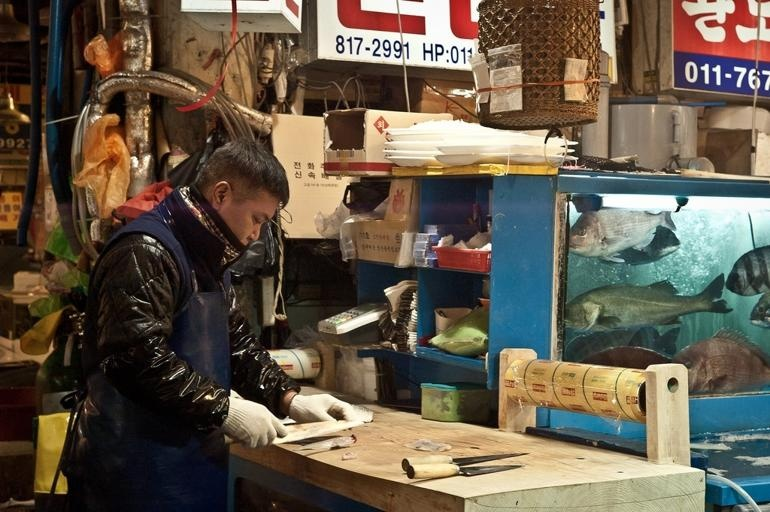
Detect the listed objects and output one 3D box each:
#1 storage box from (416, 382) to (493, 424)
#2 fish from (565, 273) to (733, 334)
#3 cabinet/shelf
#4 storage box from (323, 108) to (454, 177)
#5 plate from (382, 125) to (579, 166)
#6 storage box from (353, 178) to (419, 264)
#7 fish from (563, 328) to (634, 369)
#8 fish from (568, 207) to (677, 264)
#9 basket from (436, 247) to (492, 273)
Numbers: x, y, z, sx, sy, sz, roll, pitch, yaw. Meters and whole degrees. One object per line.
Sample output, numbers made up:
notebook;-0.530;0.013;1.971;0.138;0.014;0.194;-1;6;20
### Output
storage box;0.362;0.748;4.090;0.299;0.164;0.288;6;-9;-29
fish;1.345;0.233;4.045;0.959;0.259;0.041;-1;4;-19
cabinet/shelf;0.395;0.245;4.025;0.442;1.242;1.310;1;-1;-41
storage box;-0.032;-0.575;4.464;0.506;0.298;0.480;-4;6;-38
plate;0.425;-0.563;3.910;0.958;0.251;0.381;1;4;12
storage box;0.008;-0.176;4.326;0.200;0.474;0.500;3;0;-28
fish;1.058;0.432;3.961;0.270;0.103;0.160;-20;-10;-26
fish;1.193;-0.128;4.000;0.650;0.292;0.195;-10;11;-16
basket;0.372;0.016;3.837;0.185;0.063;0.128;6;4;43
